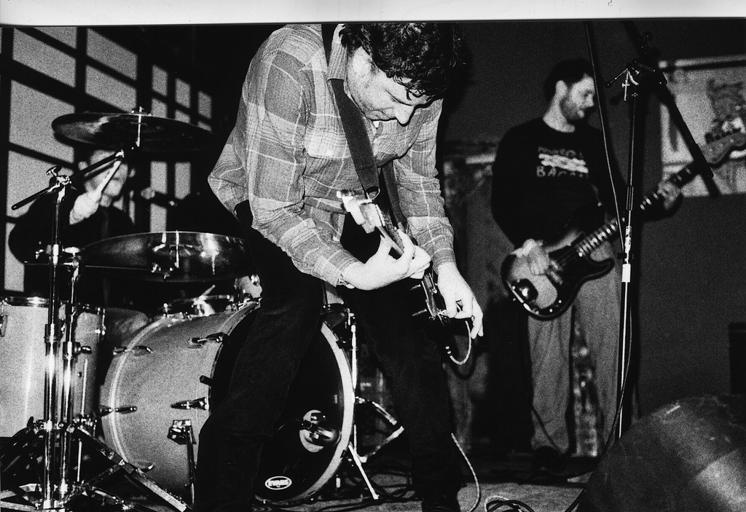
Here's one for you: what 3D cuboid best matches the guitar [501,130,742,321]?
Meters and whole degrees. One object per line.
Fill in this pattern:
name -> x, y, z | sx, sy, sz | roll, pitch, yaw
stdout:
guitar -> 1.287, -0.117, 4.764 | 1.031, 0.274, 0.119 | -30, -12, -1

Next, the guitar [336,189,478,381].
guitar -> 0.221, 0.093, 3.612 | 0.124, 0.881, 0.424 | -35, 23, 7

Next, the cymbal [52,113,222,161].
cymbal -> -1.100, -0.569, 4.316 | 0.382, 0.086, 0.373 | -6, -14, 10

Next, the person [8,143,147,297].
person -> -1.390, -0.160, 4.482 | 0.528, 0.695, 0.203 | 11, -11, -39
